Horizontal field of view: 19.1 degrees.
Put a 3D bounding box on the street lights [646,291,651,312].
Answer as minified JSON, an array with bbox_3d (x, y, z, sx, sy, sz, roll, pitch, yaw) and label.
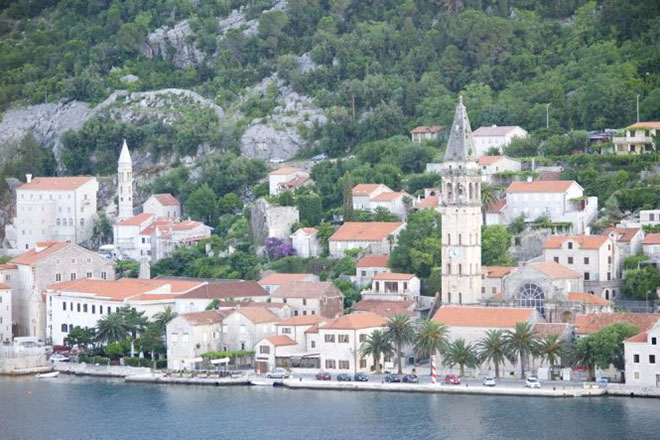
[{"bbox_3d":[43.378,10.772,263.346,0.581,2.642,0.625,-4,14,12],"label":"street lights"}]

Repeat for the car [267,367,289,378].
[{"bbox_3d":[-6.865,20.105,258.927,2.286,1.028,1.318,1,-3,9],"label":"car"}]

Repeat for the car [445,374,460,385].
[{"bbox_3d":[16.151,20.507,254.217,1.956,0.995,2.316,-7,13,-4],"label":"car"}]

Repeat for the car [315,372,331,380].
[{"bbox_3d":[-0.680,20.392,257.192,2.111,0.933,1.494,-11,14,-20],"label":"car"}]

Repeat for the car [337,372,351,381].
[{"bbox_3d":[1.961,20.475,256.546,1.913,0.894,1.137,-6,13,0],"label":"car"}]

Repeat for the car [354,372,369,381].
[{"bbox_3d":[4.203,20.353,256.511,1.790,0.904,1.473,-6,13,3],"label":"car"}]

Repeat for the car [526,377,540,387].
[{"bbox_3d":[26.416,20.724,251.658,1.775,1.064,2.027,-8,13,-6],"label":"car"}]

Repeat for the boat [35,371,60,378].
[{"bbox_3d":[-38.684,20.994,265.593,2.780,0.606,1.121,-2,16,-2],"label":"boat"}]
